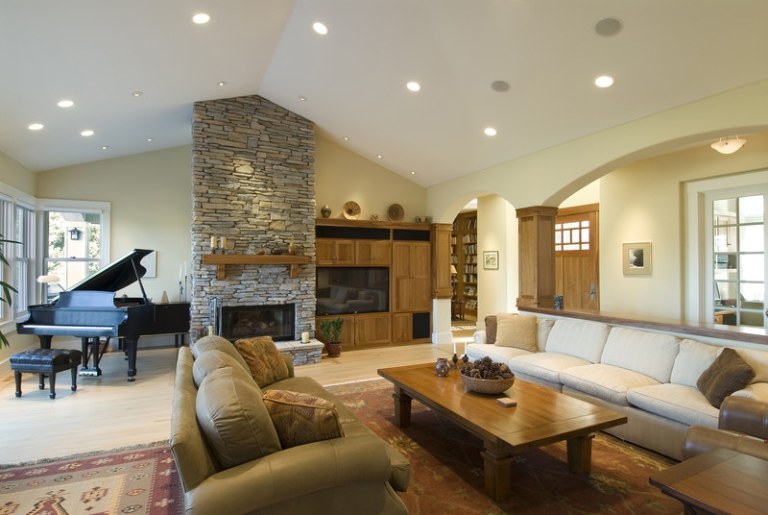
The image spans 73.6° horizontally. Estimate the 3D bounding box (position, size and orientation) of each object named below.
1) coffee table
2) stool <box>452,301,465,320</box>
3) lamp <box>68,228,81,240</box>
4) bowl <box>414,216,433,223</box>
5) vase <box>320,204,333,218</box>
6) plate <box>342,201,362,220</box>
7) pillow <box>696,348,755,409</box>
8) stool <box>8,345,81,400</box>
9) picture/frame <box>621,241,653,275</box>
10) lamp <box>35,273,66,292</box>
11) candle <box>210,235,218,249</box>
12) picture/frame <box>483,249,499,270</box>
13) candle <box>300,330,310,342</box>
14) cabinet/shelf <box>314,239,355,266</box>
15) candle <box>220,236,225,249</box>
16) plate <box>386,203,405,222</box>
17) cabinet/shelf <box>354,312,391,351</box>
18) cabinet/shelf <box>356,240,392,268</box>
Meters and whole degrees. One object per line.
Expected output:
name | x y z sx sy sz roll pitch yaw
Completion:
coffee table | 1.186 1.855 5.582 1.193 0.996 2.292 1 -3 -43
stool | 1.952 1.410 13.550 0.432 0.440 0.428 -1 -6 7
lamp | -5.407 -0.402 8.997 0.202 0.199 0.189 2 -3 -34
bowl | 0.777 -0.738 10.240 0.300 0.180 0.243 1 -2 -32
vase | -1.042 -0.841 9.482 0.245 0.267 0.230 0 -2 -25
plate | -0.587 -0.890 9.676 0.357 0.362 0.240 0 -2 -13
pillow | 3.589 1.273 5.422 0.430 0.577 0.429 -1 -2 13
stool | -4.590 1.570 6.958 0.764 0.621 0.505 0 -2 -5
picture/frame | 4.171 0.019 8.408 0.061 0.711 0.572 6 -5 -32
lamp | -5.154 0.371 7.919 0.528 0.203 0.508 2 -2 -30
candle | -2.736 -0.240 8.267 0.115 0.208 0.109 0 -1 -19
picture/frame | 2.364 0.051 11.278 0.048 0.376 0.469 4 -4 -29
candle | -1.319 1.352 8.707 0.168 0.171 0.164 -2 -3 25
cabinet/shelf | -0.910 -0.066 9.501 0.859 0.492 0.447 1 -1 -24
candle | -2.601 -0.234 8.273 0.080 0.193 0.167 0 -2 -13
plate | 0.230 -0.862 10.014 0.356 0.320 0.204 4 5 -18
cabinet/shelf | -0.245 1.405 9.679 0.771 0.598 0.282 1 1 -24
cabinet/shelf | -0.221 -0.070 9.690 0.568 0.367 0.206 1 -2 -24
